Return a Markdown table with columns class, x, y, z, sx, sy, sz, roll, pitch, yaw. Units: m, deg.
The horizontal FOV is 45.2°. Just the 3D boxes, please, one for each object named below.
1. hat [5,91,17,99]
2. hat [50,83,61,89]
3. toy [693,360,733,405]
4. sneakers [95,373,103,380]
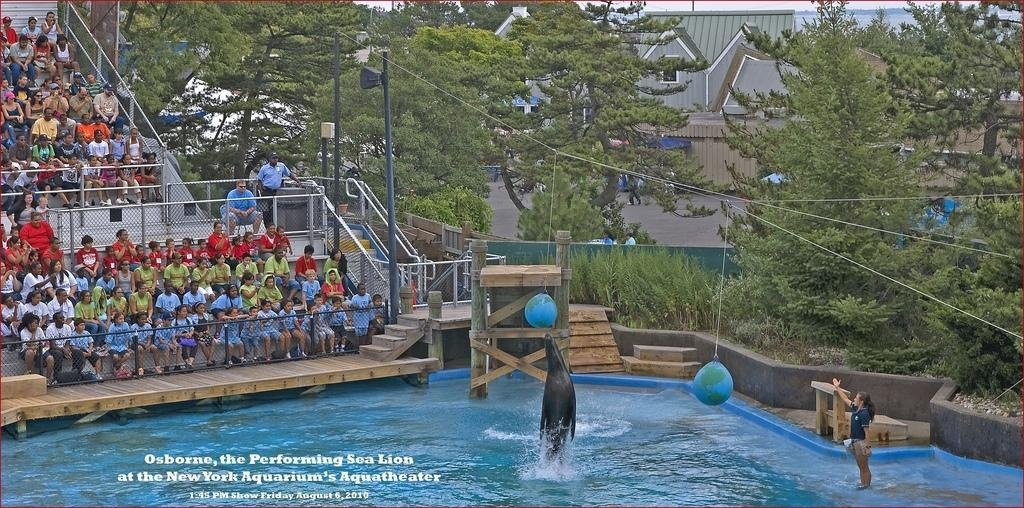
| class | x | y | z | sx | sy | sz | roll | pitch | yaw |
| --- | --- | --- | --- | --- | --- | --- | --- | --- | --- |
| hat | -20.234 | -6.479 | 49.692 | 0.432 | 0.197 | 0.310 | 11 | 10 | 37 |
| hat | -18.968 | -7.029 | 51.110 | 0.525 | 0.228 | 0.323 | 1 | 4 | 33 |
| toy | 6.713 | 4.318 | 41.246 | 1.163 | 1.578 | 0.483 | -1 | 5 | 9 |
| sneakers | -14.811 | 4.438 | 44.224 | 0.389 | 0.239 | 0.200 | -1 | 4 | -2 |
